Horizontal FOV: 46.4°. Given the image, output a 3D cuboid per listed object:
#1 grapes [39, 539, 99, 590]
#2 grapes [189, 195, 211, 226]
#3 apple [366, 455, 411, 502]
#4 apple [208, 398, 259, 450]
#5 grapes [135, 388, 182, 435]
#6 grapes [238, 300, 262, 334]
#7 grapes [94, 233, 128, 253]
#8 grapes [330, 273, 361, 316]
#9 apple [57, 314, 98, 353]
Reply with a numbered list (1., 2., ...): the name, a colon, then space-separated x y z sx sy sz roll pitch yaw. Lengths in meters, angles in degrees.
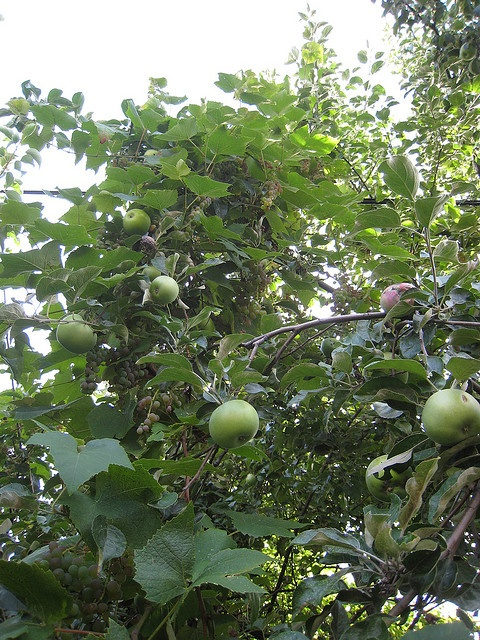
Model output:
1. grapes: -0.437 0.616 1.375 0.066 0.073 0.190 -35 -47 21
2. grapes: -0.160 -0.456 2.309 0.051 0.187 0.057 11 -51 0
3. apple: 0.414 0.469 1.633 0.138 0.154 0.113 -2 -11 -13
4. apple: -0.024 0.281 1.537 0.131 0.140 0.114 35 -68 -14
5. grapes: -0.292 0.316 1.949 0.173 0.101 0.079 -39 -7 32
6. grapes: 0.055 -0.010 2.595 0.087 0.125 0.168 -9 -28 27
7. grapes: -0.525 -0.312 2.234 0.139 0.122 0.048 -7 -66 1
8. grapes: 0.545 -0.131 2.912 0.149 0.241 0.172 1 -26 9
9. apple: -0.577 0.055 1.964 0.145 0.130 0.142 -10 -10 -22
